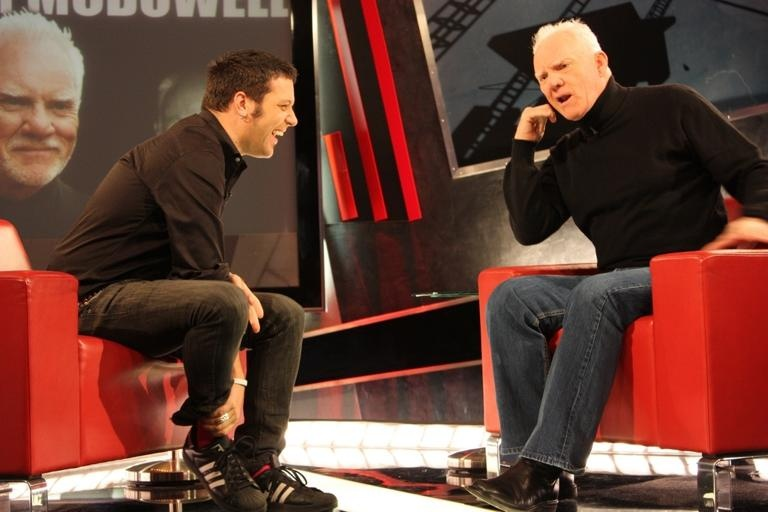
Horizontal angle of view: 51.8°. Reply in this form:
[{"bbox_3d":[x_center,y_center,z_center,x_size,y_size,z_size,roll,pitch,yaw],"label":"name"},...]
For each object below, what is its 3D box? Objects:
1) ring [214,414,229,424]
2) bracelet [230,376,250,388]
[{"bbox_3d":[-0.567,0.569,2.768,0.039,0.014,0.040,-9,-5,-1],"label":"ring"},{"bbox_3d":[-0.536,0.466,2.960,0.052,0.019,0.043,-3,9,-27],"label":"bracelet"}]
